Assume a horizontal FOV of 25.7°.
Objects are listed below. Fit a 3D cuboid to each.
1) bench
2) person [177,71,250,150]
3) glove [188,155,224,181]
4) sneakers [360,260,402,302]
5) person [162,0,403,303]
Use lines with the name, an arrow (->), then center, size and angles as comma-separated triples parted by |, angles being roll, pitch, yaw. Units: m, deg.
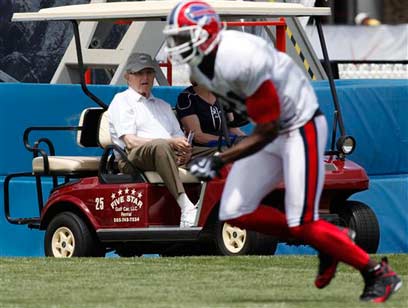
bench -> -0.971, -0.042, 8.814 | 1.326, 0.654, 0.801 | -1, 0, 14
person -> 0.090, -0.383, 9.017 | 0.651, 0.712, 0.779 | -5, -6, 42
glove -> 0.013, 0.091, 6.080 | 0.200, 0.152, 0.094 | -35, -8, -10
sneakers -> 1.222, 0.904, 6.270 | 0.286, 0.325, 0.170 | -9, 16, -26
person -> 0.495, -0.038, 6.304 | 1.557, 2.051, 0.539 | 1, 15, 8
